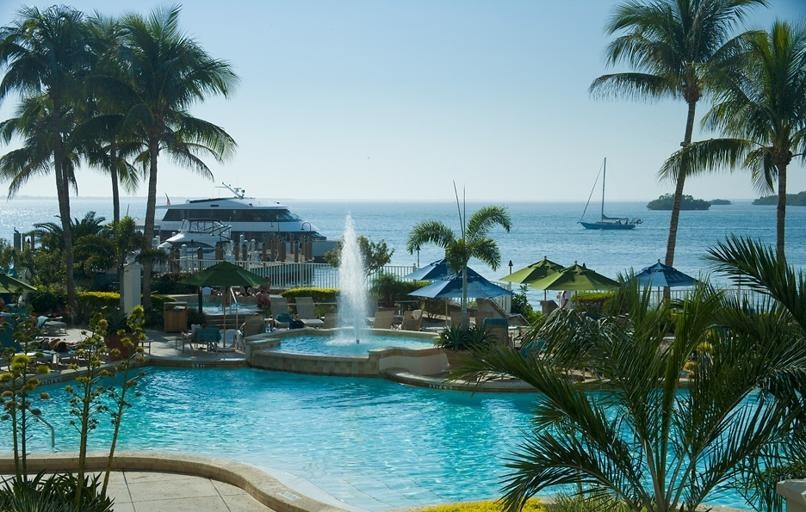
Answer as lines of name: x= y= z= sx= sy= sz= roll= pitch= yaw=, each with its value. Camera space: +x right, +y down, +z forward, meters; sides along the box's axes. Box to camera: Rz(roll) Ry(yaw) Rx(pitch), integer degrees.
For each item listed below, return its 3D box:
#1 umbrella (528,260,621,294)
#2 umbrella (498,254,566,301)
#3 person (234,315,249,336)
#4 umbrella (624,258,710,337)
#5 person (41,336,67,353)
umbrella: x=5.301 y=0.721 z=26.379 sx=2.448 sy=0.938 sz=3.661 roll=0 pitch=1 yaw=9
umbrella: x=4.452 y=0.801 z=28.143 sx=1.472 sy=0.602 sz=1.126 roll=-25 pitch=16 yaw=-25
person: x=-5.579 y=2.439 z=28.717 sx=0.529 sy=0.810 sz=0.650 roll=11 pitch=-1 yaw=-4
umbrella: x=8.768 y=1.422 z=27.220 sx=2.342 sy=1.531 sz=2.238 roll=-6 pitch=7 yaw=-39
person: x=-10.590 y=2.733 z=25.449 sx=1.223 sy=0.361 sz=0.573 roll=1 pitch=2 yaw=41
